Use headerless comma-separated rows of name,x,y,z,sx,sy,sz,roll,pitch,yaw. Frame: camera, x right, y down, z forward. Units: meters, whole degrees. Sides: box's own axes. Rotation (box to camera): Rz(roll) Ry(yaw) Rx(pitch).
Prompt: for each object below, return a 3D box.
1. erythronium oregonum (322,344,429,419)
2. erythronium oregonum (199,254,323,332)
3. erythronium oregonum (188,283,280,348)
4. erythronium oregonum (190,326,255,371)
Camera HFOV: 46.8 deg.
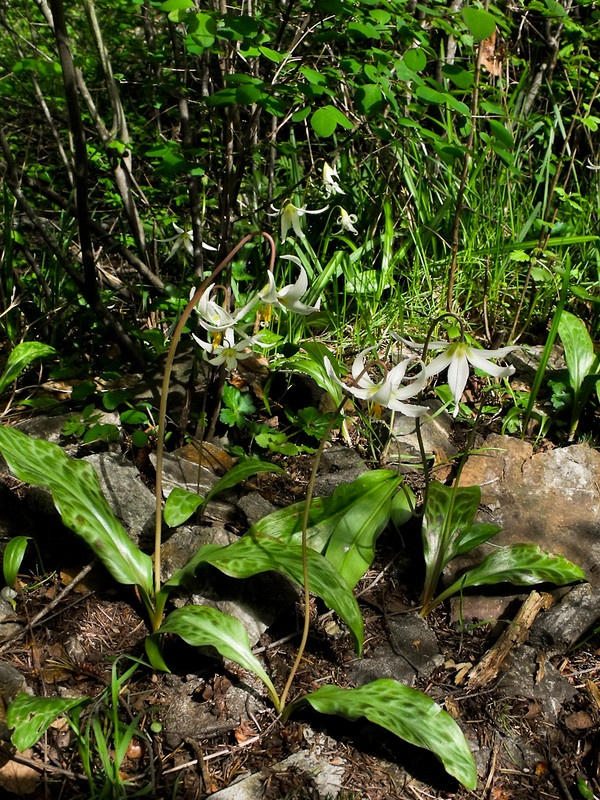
erythronium oregonum,0.262,-0.061,2.080,0.237,0.117,0.246,-2,9,-12
erythronium oregonum,-0.156,-0.315,2.435,0.417,0.167,0.276,-15,52,3
erythronium oregonum,-0.232,-0.280,2.413,0.250,0.139,0.238,16,-9,-27
erythronium oregonum,-0.259,-0.182,2.516,0.177,0.158,0.093,1,-3,11
